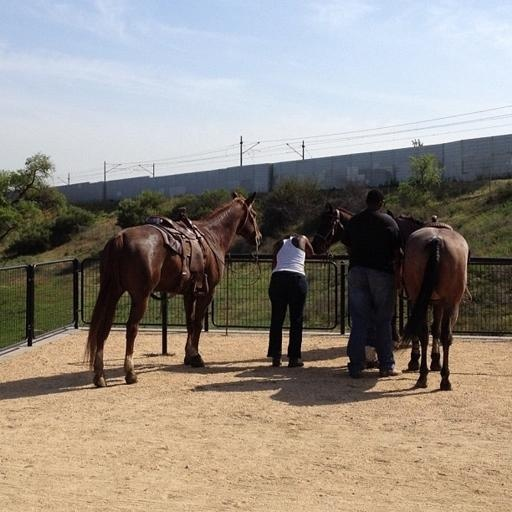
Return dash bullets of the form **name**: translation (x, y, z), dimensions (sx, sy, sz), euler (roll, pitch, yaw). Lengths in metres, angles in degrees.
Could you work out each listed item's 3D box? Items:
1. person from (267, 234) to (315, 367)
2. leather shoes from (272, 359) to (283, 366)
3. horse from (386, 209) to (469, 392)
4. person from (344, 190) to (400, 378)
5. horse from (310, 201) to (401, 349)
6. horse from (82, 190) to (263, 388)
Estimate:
- **person**: translation (0.456, 0.632, 12.036), dimensions (0.584, 1.849, 0.738), euler (0, 5, 0)
- **leather shoes**: translation (0.302, 1.499, 12.171), dimensions (0.107, 0.108, 0.182), euler (0, -14, 5)
- **horse**: translation (2.293, 0.618, 11.254), dimensions (0.805, 2.043, 1.649), euler (1, 6, 10)
- **person**: translation (1.511, 0.442, 11.369), dimensions (0.652, 2.643, 0.734), euler (0, -25, 8)
- **horse**: translation (1.897, -0.105, 14.546), dimensions (1.976, 1.724, 0.511), euler (-9, 20, -26)
- **horse**: translation (-1.022, 0.385, 11.813), dimensions (2.821, 2.573, 0.771), euler (-4, 7, -44)
